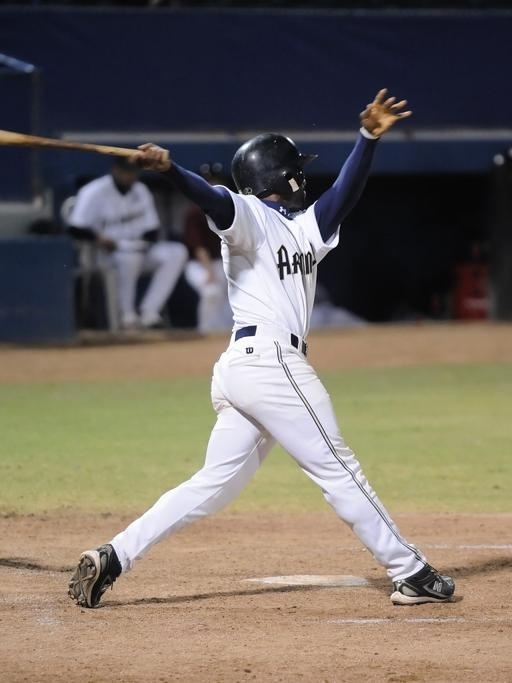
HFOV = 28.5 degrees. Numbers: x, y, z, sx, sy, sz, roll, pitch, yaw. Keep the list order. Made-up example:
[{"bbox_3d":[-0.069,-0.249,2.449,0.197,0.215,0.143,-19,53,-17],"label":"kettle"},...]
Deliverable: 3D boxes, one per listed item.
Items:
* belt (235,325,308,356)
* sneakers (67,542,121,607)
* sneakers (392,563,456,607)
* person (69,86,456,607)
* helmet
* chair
[{"bbox_3d":[0.044,-0.005,2.944,0.225,0.083,0.129,2,2,-8],"label":"belt"},{"bbox_3d":[-0.482,0.701,2.961,0.129,0.248,0.094,-32,65,-28],"label":"sneakers"},{"bbox_3d":[0.488,0.728,3.021,0.264,0.102,0.087,-4,1,-19],"label":"sneakers"},{"bbox_3d":[0.038,0.021,2.992,1.089,1.556,0.487,2,3,-16],"label":"person"},{"bbox_3d":[0.030,-0.514,3.076,0.315,0.241,0.215,-10,12,-14],"label":"helmet"},{"bbox_3d":[-0.992,-0.817,7.856,0.733,1.291,0.809,-7,18,-34],"label":"chair"}]
